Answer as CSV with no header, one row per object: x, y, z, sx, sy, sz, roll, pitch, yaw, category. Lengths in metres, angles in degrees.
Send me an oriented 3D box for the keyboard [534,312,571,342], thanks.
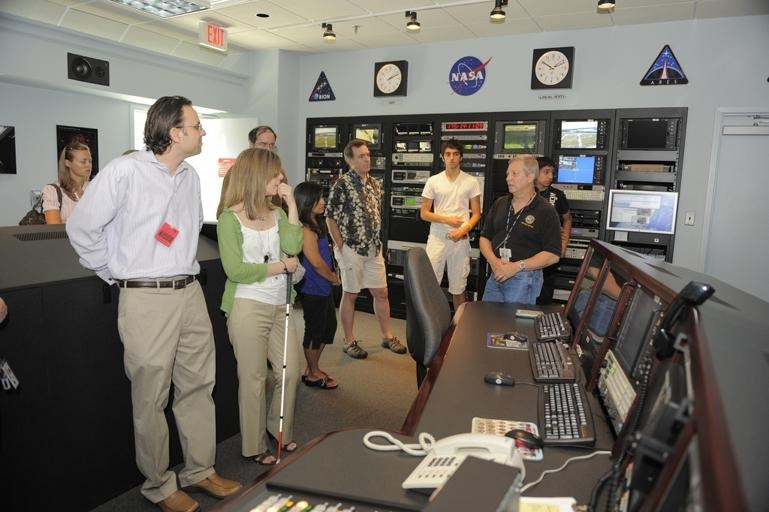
0.975,0.412,2.912,0.128,0.048,0.177,3,15,11,keyboard

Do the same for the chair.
0.258,0.382,3.033,0.288,0.819,0.604,0,11,6,chair

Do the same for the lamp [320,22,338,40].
-0.620,-2.511,5.606,0.175,0.181,0.138,0,8,5,lamp

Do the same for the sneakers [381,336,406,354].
0.091,0.882,4.997,0.245,0.105,0.120,8,10,29,sneakers

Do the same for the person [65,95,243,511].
-1.198,0.270,2.619,0.673,2.159,0.435,-7,13,-30,person

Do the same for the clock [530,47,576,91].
1.824,-2.014,5.376,0.484,0.474,0.045,2,2,35,clock

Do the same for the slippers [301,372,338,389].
-0.537,1.030,4.169,0.202,0.066,0.124,2,3,7,slippers

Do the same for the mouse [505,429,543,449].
0.525,0.684,1.872,0.142,0.039,0.089,8,22,15,mouse

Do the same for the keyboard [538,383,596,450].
0.762,0.641,2.109,0.223,0.038,0.459,-4,10,16,keyboard

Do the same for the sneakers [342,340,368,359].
-0.290,0.896,4.834,0.241,0.112,0.121,5,6,43,sneakers

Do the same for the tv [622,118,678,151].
2.685,-1.229,5.048,0.492,0.326,0.103,3,8,24,tv

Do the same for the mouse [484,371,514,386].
0.532,0.561,2.310,0.103,0.028,0.059,4,12,16,mouse

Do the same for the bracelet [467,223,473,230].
0.867,-0.303,5.088,0.028,0.068,0.057,-8,-14,33,bracelet

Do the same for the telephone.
0.248,0.652,1.603,0.237,0.081,0.234,2,8,18,telephone

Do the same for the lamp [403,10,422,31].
0.279,-2.392,5.130,0.133,0.182,0.339,0,11,2,lamp

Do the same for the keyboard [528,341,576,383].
0.845,0.517,2.518,0.205,0.043,0.355,-6,16,8,keyboard

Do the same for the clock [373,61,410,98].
0.070,-2.191,6.202,0.453,0.402,0.067,11,14,35,clock

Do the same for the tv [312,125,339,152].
-0.767,-1.560,6.610,0.349,0.329,0.193,4,7,22,tv

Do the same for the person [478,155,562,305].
1.058,-0.189,3.835,0.531,1.124,0.832,-2,11,-6,person

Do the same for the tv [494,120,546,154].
1.550,-1.370,5.654,0.542,0.393,0.280,7,29,24,tv

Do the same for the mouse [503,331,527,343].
0.734,0.454,2.796,0.081,0.022,0.057,10,13,3,mouse

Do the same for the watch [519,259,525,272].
1.030,0.070,3.741,0.045,0.073,0.040,3,12,17,watch

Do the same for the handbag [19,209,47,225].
-2.813,-0.321,3.993,0.148,0.116,0.413,-10,15,-38,handbag
